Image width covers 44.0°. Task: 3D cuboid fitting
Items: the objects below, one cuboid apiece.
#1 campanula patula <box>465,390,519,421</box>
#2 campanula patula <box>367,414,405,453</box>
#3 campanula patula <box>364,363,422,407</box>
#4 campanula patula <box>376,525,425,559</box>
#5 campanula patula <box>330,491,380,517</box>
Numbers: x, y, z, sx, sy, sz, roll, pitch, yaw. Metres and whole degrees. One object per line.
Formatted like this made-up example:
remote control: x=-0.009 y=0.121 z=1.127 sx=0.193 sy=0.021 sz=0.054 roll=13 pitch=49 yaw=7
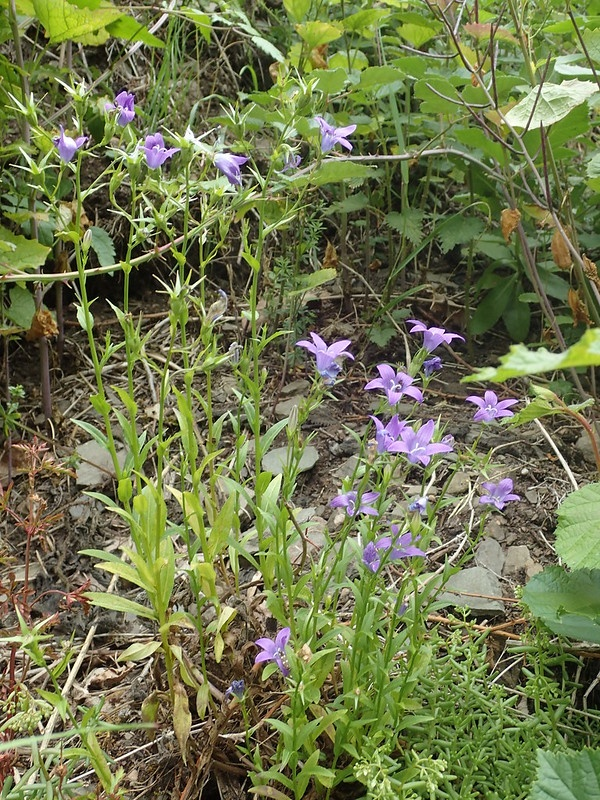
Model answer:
campanula patula: x=0.504 y=0.015 z=1.962 sx=0.101 sy=0.038 sz=0.107 roll=9 pitch=36 yaw=3
campanula patula: x=0.162 y=0.062 z=1.372 sx=0.066 sy=0.040 sz=0.066 roll=8 pitch=34 yaw=-5
campanula patula: x=0.237 y=-0.033 z=1.902 sx=0.146 sy=0.054 sz=0.145 roll=20 pitch=42 yaw=-4
campanula patula: x=0.182 y=0.275 z=1.370 sx=0.083 sy=0.029 sz=0.077 roll=10 pitch=28 yaw=1
campanula patula: x=0.104 y=0.217 z=1.433 sx=0.080 sy=0.029 sz=0.075 roll=8 pitch=27 yaw=-2
